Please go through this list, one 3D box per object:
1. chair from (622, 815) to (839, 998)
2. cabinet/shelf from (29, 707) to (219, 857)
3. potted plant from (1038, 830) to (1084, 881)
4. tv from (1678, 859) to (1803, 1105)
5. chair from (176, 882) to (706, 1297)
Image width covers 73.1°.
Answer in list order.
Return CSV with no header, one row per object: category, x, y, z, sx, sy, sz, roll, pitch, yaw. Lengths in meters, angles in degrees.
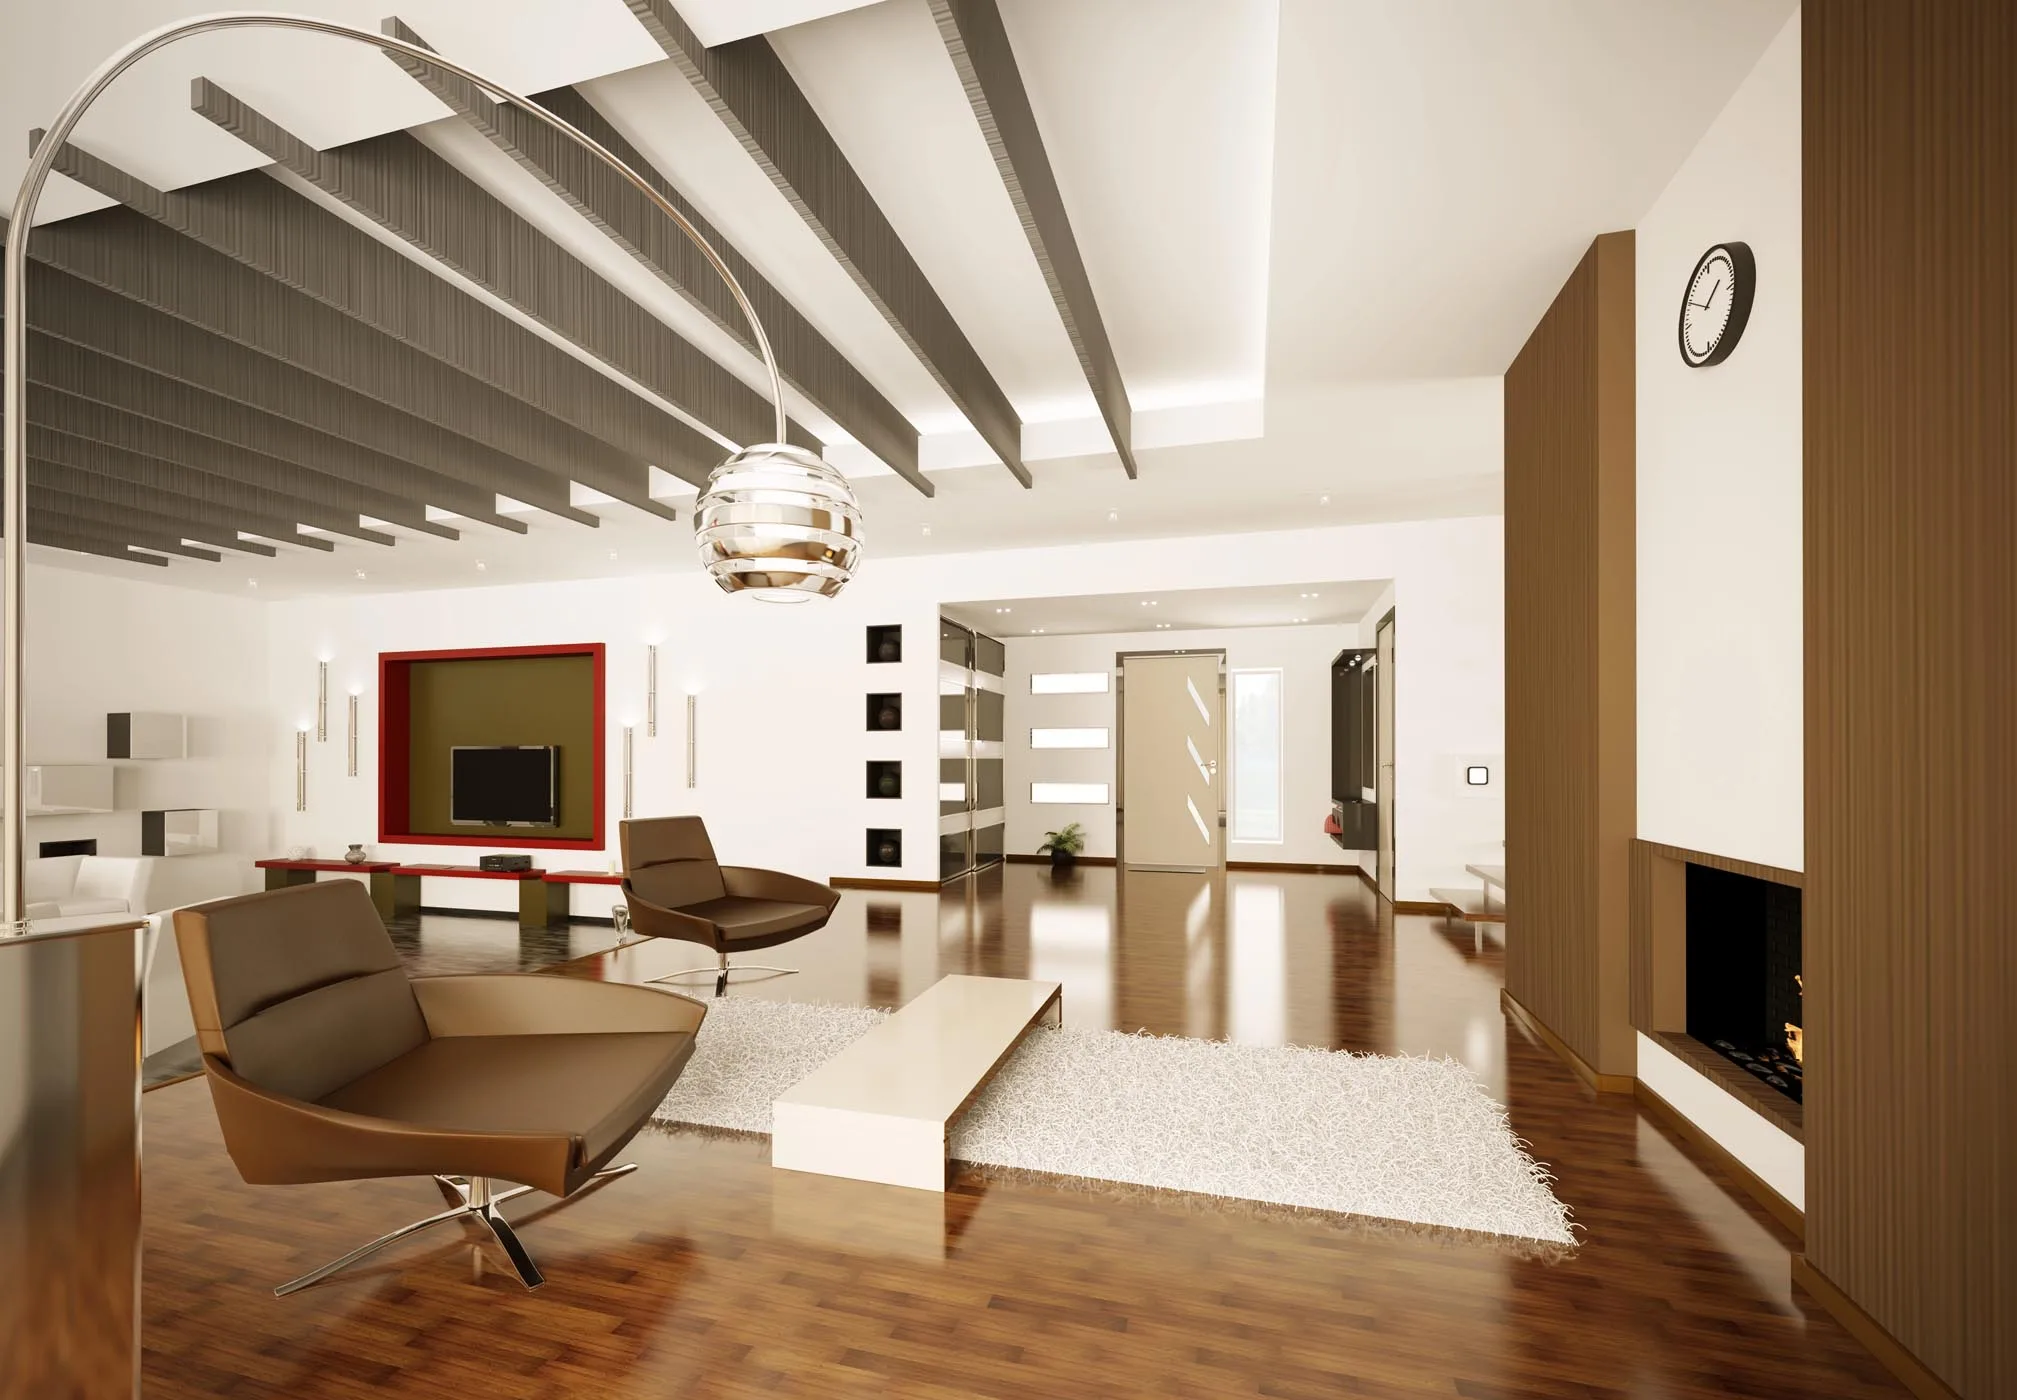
chair,-1.563,1.096,7.230,1.018,0.849,0.980,-1,2,30
cabinet/shelf,-6.481,0.606,9.845,0.350,0.939,1.094,1,-1,18
potted plant,0.442,1.363,12.131,0.317,0.378,0.301,0,-1,27
tv,2.812,0.989,5.112,0.742,0.696,0.055,11,-13,-13
chair,-1.896,1.239,4.789,1.420,1.190,1.438,4,4,8
